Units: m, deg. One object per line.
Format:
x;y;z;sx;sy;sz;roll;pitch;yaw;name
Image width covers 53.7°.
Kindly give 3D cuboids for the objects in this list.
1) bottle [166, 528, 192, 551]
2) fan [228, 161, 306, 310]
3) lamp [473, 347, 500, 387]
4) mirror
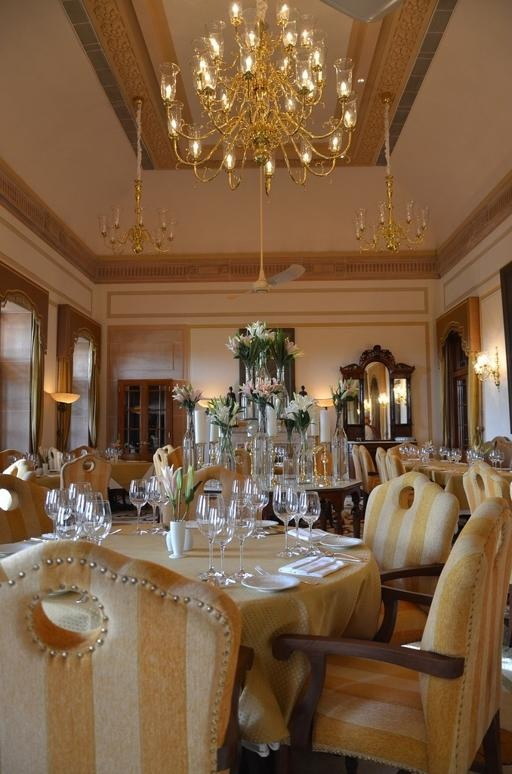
-0.251;0.499;1.628;0.078;0.089;0.086;1;-11;-7;bottle
0.103;-1.495;4.854;0.731;1.163;0.543;-11;32;-9;fan
3.586;-0.309;7.826;0.423;0.806;0.276;1;-2;30;lamp
2.215;0.170;9.162;1.514;2.293;0.196;0;-6;-8;mirror
